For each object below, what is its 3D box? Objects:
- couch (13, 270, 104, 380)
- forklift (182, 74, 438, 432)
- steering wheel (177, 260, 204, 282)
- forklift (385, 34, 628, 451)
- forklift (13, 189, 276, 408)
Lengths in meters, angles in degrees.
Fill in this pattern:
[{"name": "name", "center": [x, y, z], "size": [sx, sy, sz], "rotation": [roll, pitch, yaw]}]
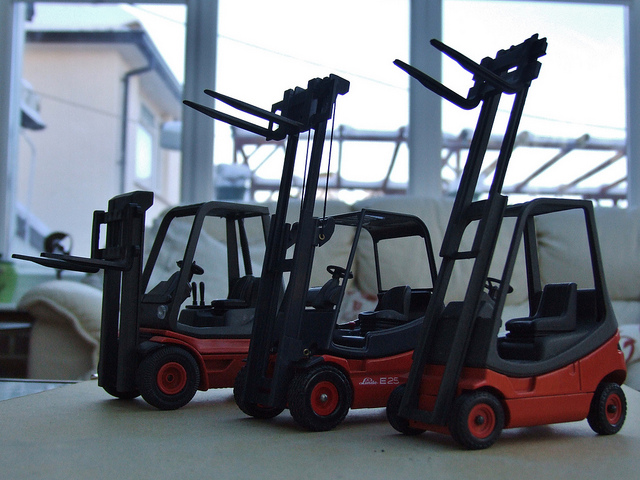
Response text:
[{"name": "couch", "center": [-2.818, 0.978, 8.037], "size": [0.931, 0.996, 0.547], "rotation": [-2, 13, -7]}, {"name": "forklift", "center": [-0.111, 0.529, 6.135], "size": [1.617, 3.642, 2.077], "rotation": [-3, 0, 25]}, {"name": "steering wheel", "center": [-1.055, 0.247, 6.174], "size": [0.165, 0.218, 0.172], "rotation": [12, 5, -1]}, {"name": "forklift", "center": [1.361, 0.032, 5.204], "size": [1.458, 2.699, 0.753], "rotation": [2, -2, -19]}, {"name": "forklift", "center": [-1.495, 0.578, 7.008], "size": [2.484, 2.767, 1.775], "rotation": [-2, 0, -42]}]
